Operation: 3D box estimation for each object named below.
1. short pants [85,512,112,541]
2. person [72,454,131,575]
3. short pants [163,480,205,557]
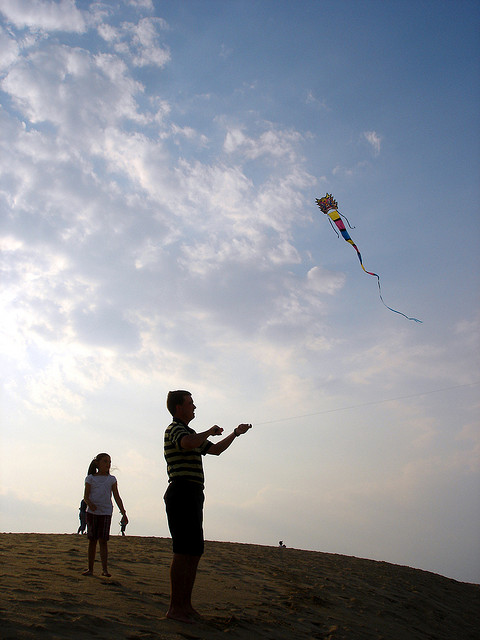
[{"bbox_3d":[-1.543,2.219,6.114,0.244,0.285,0.148,1,-17,-17],"label":"short pants"},{"bbox_3d":[-1.463,2.063,6.124,0.540,1.226,0.387,8,-24,-24],"label":"person"},{"bbox_3d":[-0.414,1.468,4.196,0.277,0.546,0.153,-2,-17,-8],"label":"short pants"}]
